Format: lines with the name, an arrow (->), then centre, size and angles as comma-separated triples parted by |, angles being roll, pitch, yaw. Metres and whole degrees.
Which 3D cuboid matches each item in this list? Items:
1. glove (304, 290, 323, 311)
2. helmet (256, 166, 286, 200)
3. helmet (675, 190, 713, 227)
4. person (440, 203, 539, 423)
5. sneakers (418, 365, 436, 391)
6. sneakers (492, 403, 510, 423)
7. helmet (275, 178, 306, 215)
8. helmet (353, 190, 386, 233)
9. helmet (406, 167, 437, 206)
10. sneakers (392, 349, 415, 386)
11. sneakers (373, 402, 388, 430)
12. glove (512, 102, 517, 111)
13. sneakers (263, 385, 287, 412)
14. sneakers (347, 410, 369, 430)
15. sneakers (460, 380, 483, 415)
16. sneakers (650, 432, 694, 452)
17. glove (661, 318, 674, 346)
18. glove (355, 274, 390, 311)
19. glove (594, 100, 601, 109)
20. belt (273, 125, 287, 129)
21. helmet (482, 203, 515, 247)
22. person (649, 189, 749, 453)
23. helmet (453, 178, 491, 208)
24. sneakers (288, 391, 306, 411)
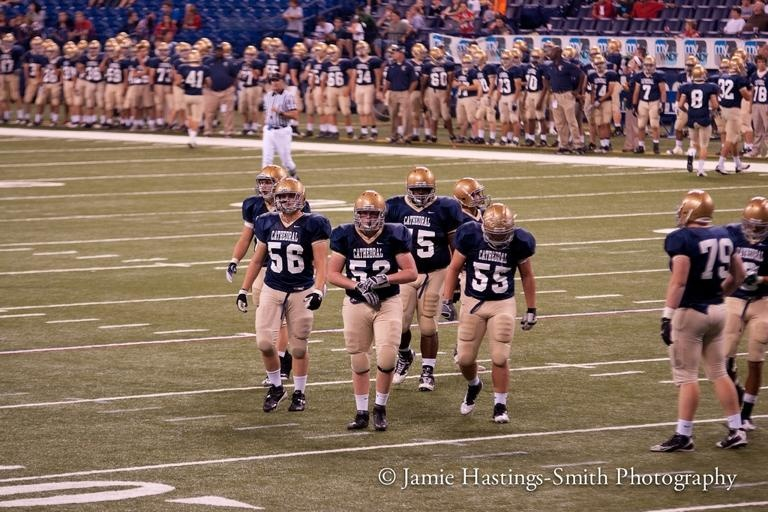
glove -> -0.633, 0.373, 11.419 | 0.076, 0.129, 0.202 | 8, 25, 43
helmet -> -1.114, -0.734, 12.464 | 0.359, 0.266, 0.293 | -2, 3, -44
helmet -> 2.685, -0.431, 10.911 | 0.351, 0.306, 0.272 | 10, 11, 40
person -> 0.935, 0.491, 11.443 | 0.852, 1.918, 0.695 | -2, 8, 8
sneakers -> 0.401, 1.162, 12.224 | 0.170, 0.232, 0.284 | -2, 8, 1
sneakers -> 1.039, 1.384, 11.325 | 0.141, 0.172, 0.214 | -2, 8, 4
helmet -> -0.889, -0.546, 11.680 | 0.278, 0.324, 0.319 | -3, 8, -5
helmet -> -0.146, -0.374, 11.275 | 0.276, 0.390, 0.209 | -3, 8, -2
helmet -> 0.353, -0.713, 12.488 | 0.332, 0.324, 0.383 | 0, 17, 0
sneakers -> 0.171, 1.091, 12.444 | 0.140, 0.383, 0.183 | 30, -12, 5
sneakers -> -0.047, 1.408, 11.163 | 0.126, 0.217, 0.237 | -3, 8, 0
glove -> 2.815, -3.250, 27.446 | 0.134, 0.150, 0.064 | 0, -4, 14
sneakers -> -1.024, 1.297, 11.574 | 0.120, 0.134, 0.314 | 2, 37, 21
sneakers -> -0.246, 1.431, 11.151 | 0.181, 0.154, 0.225 | -2, 8, 5
sneakers -> 0.829, 1.287, 11.496 | 0.138, 0.361, 0.170 | 25, 13, 13
sneakers -> 2.432, 1.565, 10.656 | 0.422, 0.142, 0.138 | 0, 6, -2
glove -> 2.375, 0.626, 10.637 | 0.081, 0.184, 0.149 | 1, -2, 17
glove -> -0.124, 0.317, 11.112 | 0.309, 0.284, 0.124 | -31, 19, 8
glove -> 4.540, -3.246, 26.985 | 0.101, 0.119, 0.137 | 14, -8, -39
belt -> -1.843, -2.222, 21.890 | 0.262, 0.055, 0.030 | -7, 9, -35
helmet -> 1.009, -0.304, 11.337 | 0.324, 0.355, 0.323 | -1, -37, -2
person -> 2.669, 0.693, 10.672 | 0.791, 1.854, 0.506 | -2, 8, 3
helmet -> 0.874, -0.656, 12.736 | 0.382, 0.259, 0.259 | 8, 26, 5
sneakers -> -0.816, 1.339, 11.546 | 0.096, 0.090, 0.250 | -2, 8, 0
